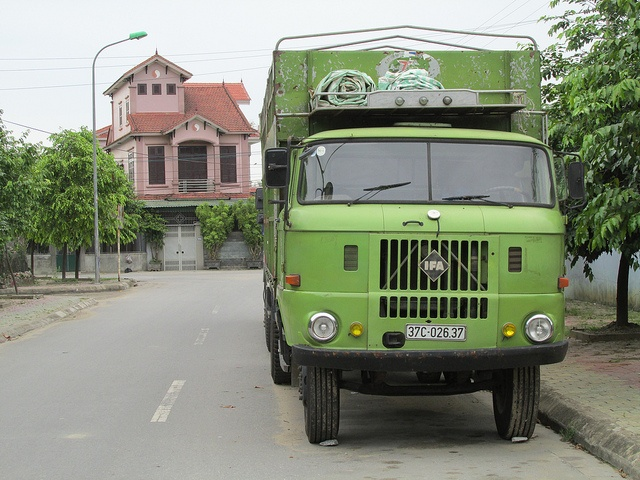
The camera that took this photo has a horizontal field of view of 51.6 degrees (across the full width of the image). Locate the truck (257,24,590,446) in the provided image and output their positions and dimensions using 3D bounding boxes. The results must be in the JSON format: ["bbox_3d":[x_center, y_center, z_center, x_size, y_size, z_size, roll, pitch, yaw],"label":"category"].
[{"bbox_3d":[1.092,-0.199,10.830,3.476,5.212,8.143,0,3,0],"label":"truck"}]
